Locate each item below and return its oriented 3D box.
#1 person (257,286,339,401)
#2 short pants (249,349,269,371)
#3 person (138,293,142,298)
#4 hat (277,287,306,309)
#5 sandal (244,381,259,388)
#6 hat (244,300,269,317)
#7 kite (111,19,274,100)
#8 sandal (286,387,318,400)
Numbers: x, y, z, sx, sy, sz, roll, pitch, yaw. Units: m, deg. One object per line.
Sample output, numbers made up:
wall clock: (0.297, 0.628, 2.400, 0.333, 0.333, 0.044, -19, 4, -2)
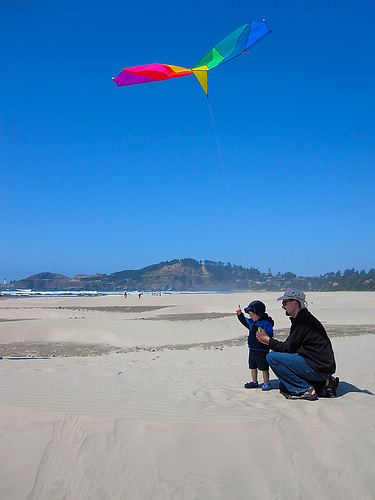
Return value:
person: (1.365, 1.143, 5.270, 0.846, 1.350, 0.401, -6, -5, 15)
short pants: (0.975, 1.466, 5.796, 0.203, 0.358, 0.275, 19, -24, -30)
person: (-7.307, 7.085, 66.317, 0.238, 0.903, 0.981, -2, 7, -15)
hat: (1.304, 0.591, 5.390, 0.326, 0.167, 0.226, 9, -11, 16)
sandal: (0.908, 1.886, 6.027, 0.201, 0.084, 0.073, -1, -11, 12)
hat: (0.963, 0.784, 5.901, 0.242, 0.135, 0.249, 13, -6, 29)
kite: (0.100, -2.608, 6.009, 2.111, 0.745, 0.597, -5, -5, 5)
sandal: (1.369, 1.720, 5.165, 0.383, 0.169, 0.133, -1, -16, 29)
